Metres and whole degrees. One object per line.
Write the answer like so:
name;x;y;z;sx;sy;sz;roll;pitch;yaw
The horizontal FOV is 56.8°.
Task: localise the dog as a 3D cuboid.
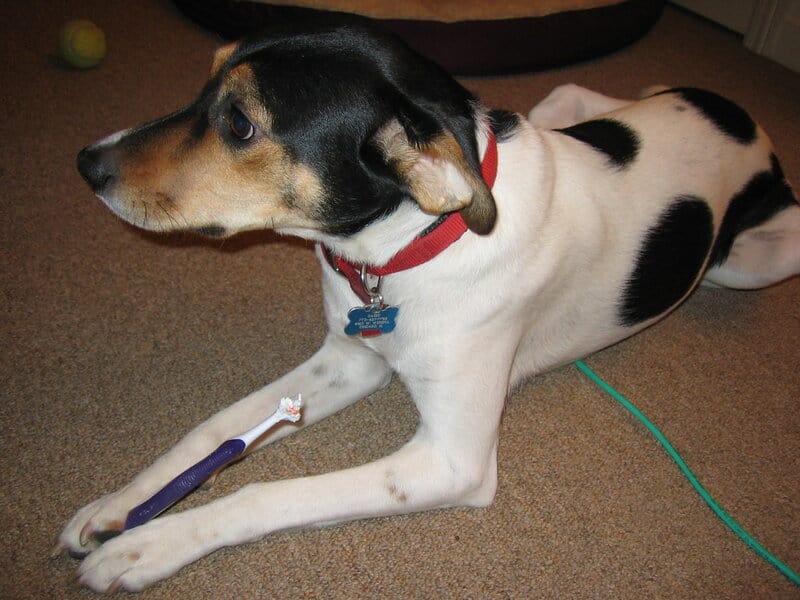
dog;0.157;-0.182;2.396;2.121;1.089;1.393;-25;40;-8
